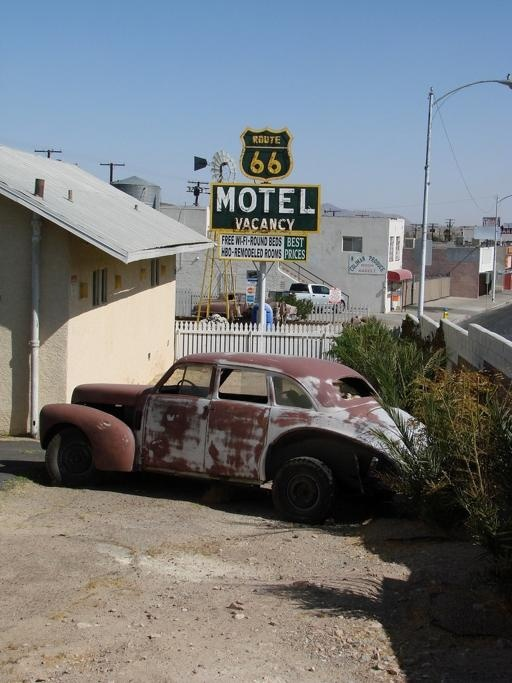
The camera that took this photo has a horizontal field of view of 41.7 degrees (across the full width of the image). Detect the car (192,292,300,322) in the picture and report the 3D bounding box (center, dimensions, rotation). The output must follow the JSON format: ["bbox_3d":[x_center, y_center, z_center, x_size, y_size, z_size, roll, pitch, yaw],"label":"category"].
[{"bbox_3d":[-0.498,-1.776,35.017,3.565,1.034,2.412,2,5,9],"label":"car"}]

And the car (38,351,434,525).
[{"bbox_3d":[-0.214,1.077,8.497,5.070,1.865,2.201,-2,-2,31],"label":"car"}]
